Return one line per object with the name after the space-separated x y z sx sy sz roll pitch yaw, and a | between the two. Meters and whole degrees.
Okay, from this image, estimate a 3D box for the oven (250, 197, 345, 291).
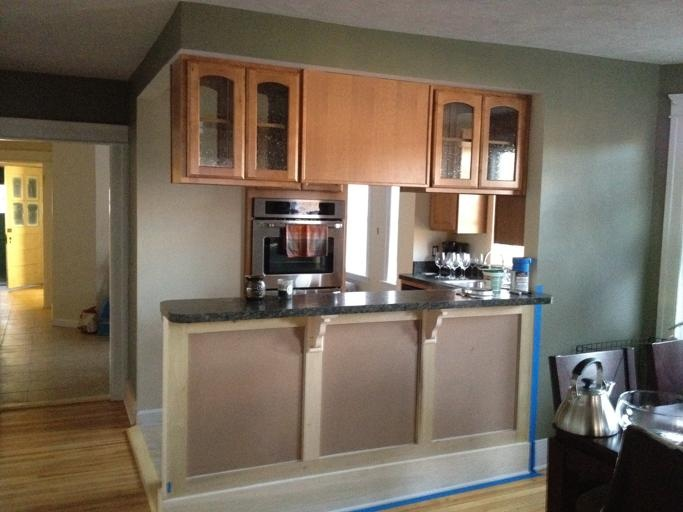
-0.424 -0.141 5.951 1.220 1.092 0.803 0 1 -25 | oven

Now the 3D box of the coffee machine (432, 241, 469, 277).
1.104 0.037 5.829 0.196 0.317 0.346 -2 5 -28 | coffee machine

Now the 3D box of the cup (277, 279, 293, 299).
-0.377 0.218 3.968 0.131 0.136 0.126 2 1 0 | cup

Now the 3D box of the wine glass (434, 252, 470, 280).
1.056 0.078 5.552 0.318 0.210 0.291 0 3 10 | wine glass

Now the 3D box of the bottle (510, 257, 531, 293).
1.367 0.147 4.439 0.142 0.270 0.087 1 9 3 | bottle

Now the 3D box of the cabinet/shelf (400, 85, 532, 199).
0.977 -0.871 4.551 0.975 0.766 0.368 -4 10 -32 | cabinet/shelf

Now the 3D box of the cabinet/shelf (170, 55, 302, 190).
-0.727 -0.891 4.018 0.914 0.809 0.310 -5 11 -38 | cabinet/shelf

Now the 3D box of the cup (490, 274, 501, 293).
1.185 0.195 4.422 0.102 0.147 0.051 -3 10 -23 | cup

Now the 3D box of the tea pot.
1.290 0.729 3.044 0.317 0.379 0.176 3 10 11 | tea pot

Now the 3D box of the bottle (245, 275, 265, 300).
-0.556 0.208 3.898 0.153 0.138 0.147 -2 5 -28 | bottle
